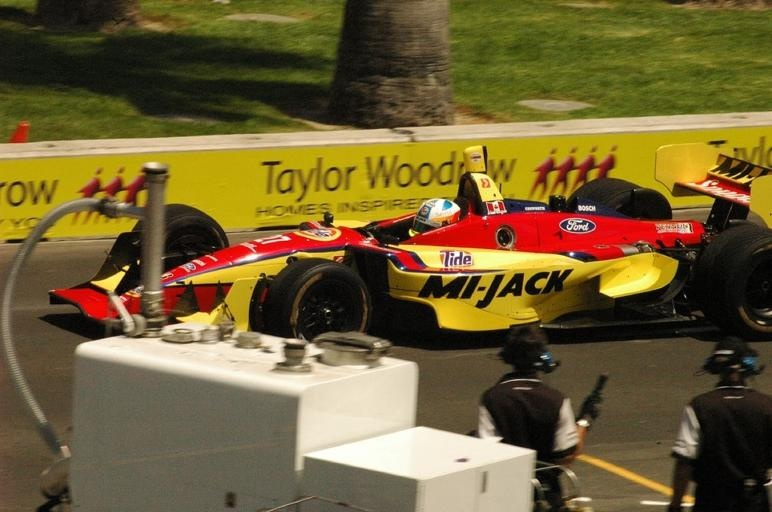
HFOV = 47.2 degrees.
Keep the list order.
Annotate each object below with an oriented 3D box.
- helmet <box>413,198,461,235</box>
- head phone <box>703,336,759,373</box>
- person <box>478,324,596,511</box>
[{"bbox_3d":[0.570,-0.510,10.672,0.391,0.273,0.560,34,34,32],"label":"helmet"},{"bbox_3d":[2.369,0.653,6.042,0.456,0.166,0.301,16,-1,-42],"label":"head phone"},{"bbox_3d":[1.025,1.069,6.015,0.772,1.151,0.828,12,12,10],"label":"person"}]
